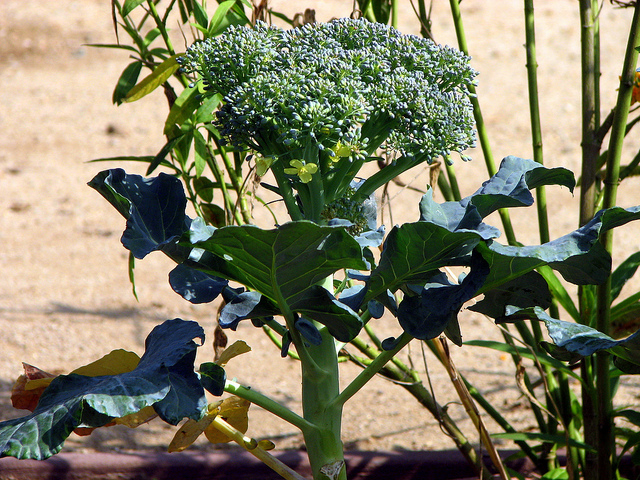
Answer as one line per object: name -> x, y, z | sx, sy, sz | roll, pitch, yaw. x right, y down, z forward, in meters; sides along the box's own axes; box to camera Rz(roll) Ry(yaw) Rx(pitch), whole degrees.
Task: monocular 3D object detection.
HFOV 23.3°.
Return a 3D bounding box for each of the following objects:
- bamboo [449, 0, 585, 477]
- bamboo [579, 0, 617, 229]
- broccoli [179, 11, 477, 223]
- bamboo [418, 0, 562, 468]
bamboo -> 0.828, 0.063, 6.543 | 0.046, 2.373, 0.099 | -4, -18, -15
bamboo -> 1.030, -0.493, 5.907 | 0.167, 0.825, 0.072 | 6, -9, 6
broccoli -> 0.067, -0.314, 5.952 | 0.858, 0.727, 0.942 | 4, 8, -4
bamboo -> 0.697, 0.055, 6.408 | 0.107, 2.363, 0.068 | 3, -25, -34
